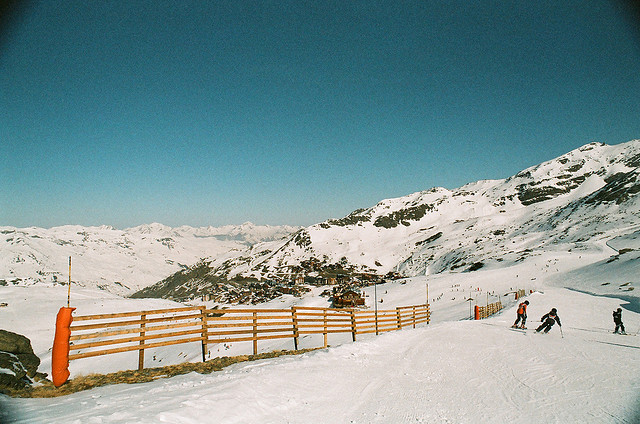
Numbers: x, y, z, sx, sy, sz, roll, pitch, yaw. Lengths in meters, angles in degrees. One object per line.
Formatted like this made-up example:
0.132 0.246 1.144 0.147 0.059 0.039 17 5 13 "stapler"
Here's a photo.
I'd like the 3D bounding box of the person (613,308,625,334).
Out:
27.037 9.873 40.815 0.742 2.023 1.022 -9 -6 43 "person"
